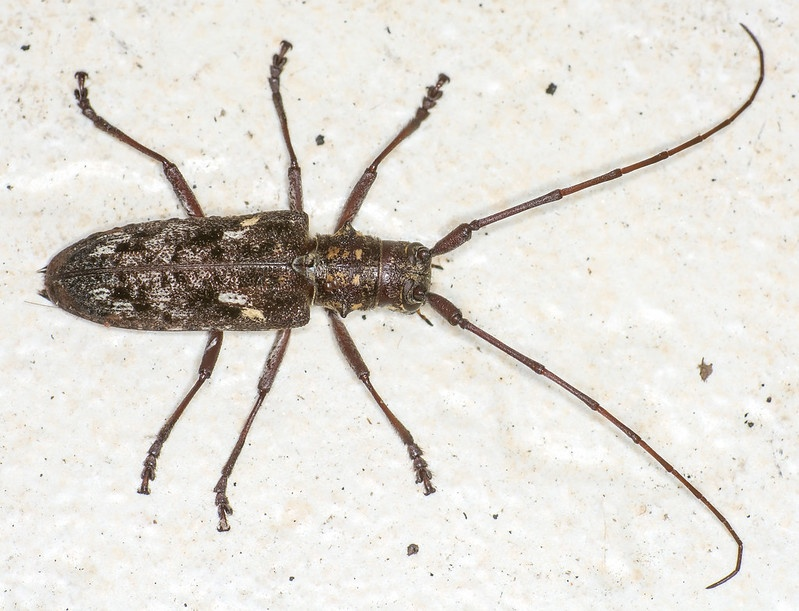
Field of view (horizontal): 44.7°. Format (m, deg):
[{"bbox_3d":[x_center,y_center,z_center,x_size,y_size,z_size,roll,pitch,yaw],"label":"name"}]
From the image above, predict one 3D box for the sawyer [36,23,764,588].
[{"bbox_3d":[-0.635,-0.181,6.525,3.774,0.760,2.948,0,85,-1],"label":"sawyer"}]
